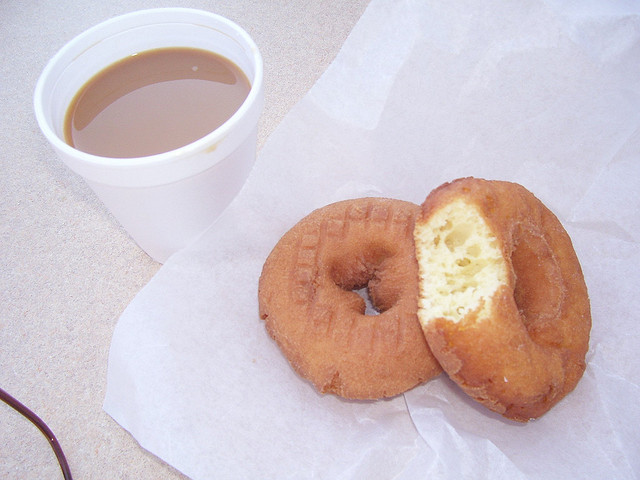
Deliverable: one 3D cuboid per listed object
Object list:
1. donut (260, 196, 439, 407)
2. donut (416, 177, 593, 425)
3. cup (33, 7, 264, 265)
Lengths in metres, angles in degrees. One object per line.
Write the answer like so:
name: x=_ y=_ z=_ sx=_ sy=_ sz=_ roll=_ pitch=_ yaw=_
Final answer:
donut: x=0.040 y=0.102 z=1.096 sx=0.292 sy=0.158 sz=0.349 roll=-3 pitch=61 yaw=-8
donut: x=0.296 y=0.098 z=1.013 sx=0.385 sy=0.114 sz=0.374 roll=41 pitch=63 yaw=-26
cup: x=-0.309 y=-0.175 z=1.127 sx=0.415 sy=0.270 sz=0.358 roll=-28 pitch=52 yaw=-33
